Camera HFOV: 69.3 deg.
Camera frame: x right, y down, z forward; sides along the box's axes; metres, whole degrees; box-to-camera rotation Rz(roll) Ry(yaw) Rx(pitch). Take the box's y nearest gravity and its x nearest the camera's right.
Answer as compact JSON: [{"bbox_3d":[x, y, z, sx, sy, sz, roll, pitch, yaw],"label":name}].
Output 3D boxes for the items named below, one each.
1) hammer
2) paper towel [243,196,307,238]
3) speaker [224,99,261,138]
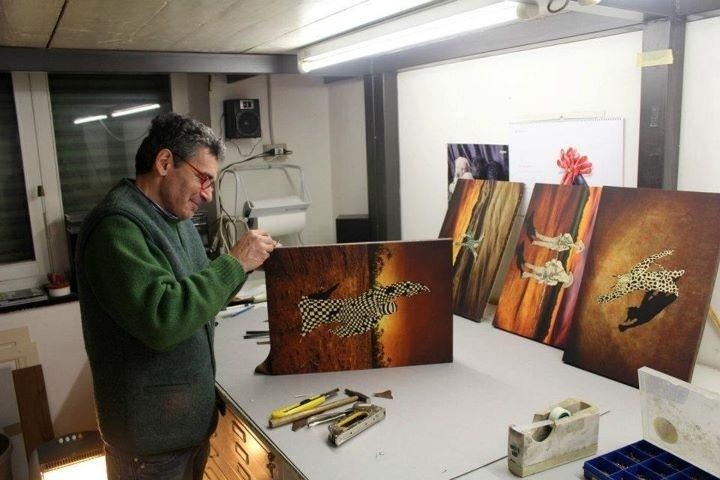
[{"bbox_3d":[-0.150,0.643,2.007,0.370,0.055,0.192,-10,-8,-20],"label":"hammer"},{"bbox_3d":[-0.571,-0.164,3.481,0.396,0.263,0.278,-7,18,-33],"label":"paper towel"},{"bbox_3d":[-0.801,-0.858,3.684,0.214,0.254,0.173,-3,14,-15],"label":"speaker"}]
